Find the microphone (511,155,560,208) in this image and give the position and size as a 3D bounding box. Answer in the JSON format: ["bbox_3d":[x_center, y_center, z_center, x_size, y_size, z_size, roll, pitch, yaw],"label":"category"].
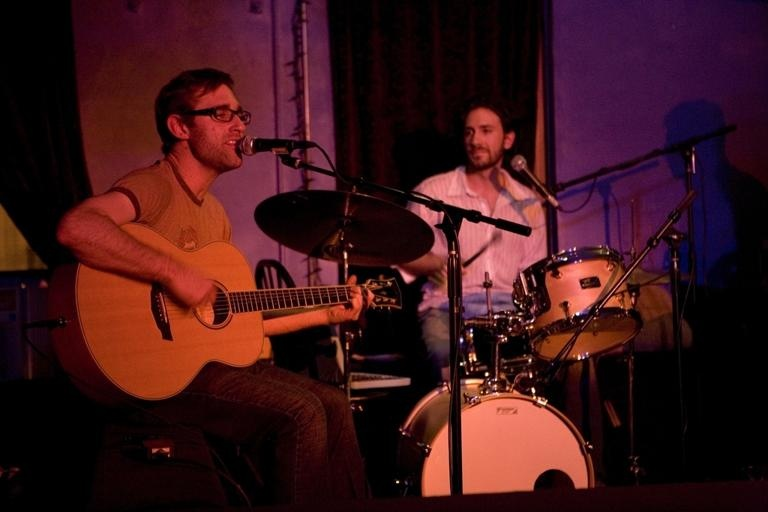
[{"bbox_3d":[1.058,-0.519,5.278,0.146,0.534,0.139,-53,23,-21],"label":"microphone"}]

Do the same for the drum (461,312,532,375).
[{"bbox_3d":[0.663,0.562,4.343,0.332,0.392,0.352,-1,-8,-6],"label":"drum"}]

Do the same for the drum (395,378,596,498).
[{"bbox_3d":[0.640,0.864,4.453,1.004,0.996,0.615,1,0,-13],"label":"drum"}]

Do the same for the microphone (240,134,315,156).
[{"bbox_3d":[-0.560,-0.597,4.012,0.400,0.114,0.220,-2,4,6],"label":"microphone"}]

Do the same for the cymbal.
[{"bbox_3d":[-0.213,-0.207,4.058,0.900,0.224,0.928,-10,-14,-19],"label":"cymbal"}]

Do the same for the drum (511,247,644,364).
[{"bbox_3d":[1.172,0.312,4.521,0.764,0.735,0.446,-3,5,-1],"label":"drum"}]
